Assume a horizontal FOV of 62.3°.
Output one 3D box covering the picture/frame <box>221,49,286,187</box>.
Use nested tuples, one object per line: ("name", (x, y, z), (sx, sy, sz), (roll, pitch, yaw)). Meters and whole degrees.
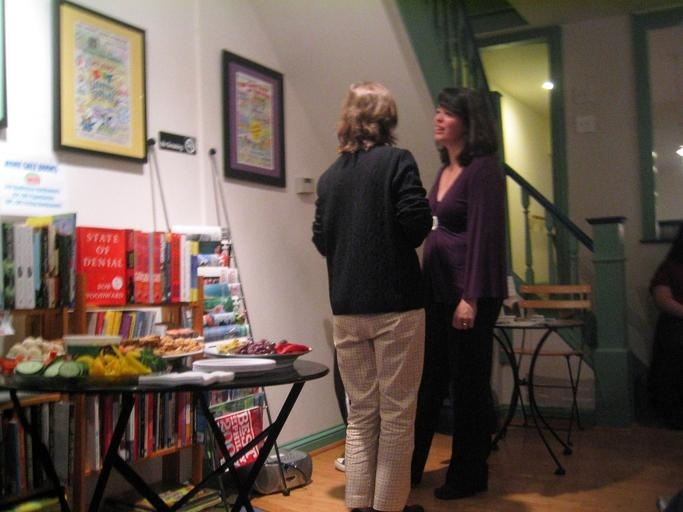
("picture/frame", (-0.557, -0.859, 3.638), (0.076, 0.801, 0.483), (3, 2, 43))

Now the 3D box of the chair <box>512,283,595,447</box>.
("chair", (1.758, 0.887, 4.719), (0.650, 1.246, 0.766), (3, 0, 21))

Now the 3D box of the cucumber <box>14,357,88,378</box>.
("cucumber", (-1.023, 0.399, 1.997), (0.309, 0.067, 0.104), (2, 1, 31))
